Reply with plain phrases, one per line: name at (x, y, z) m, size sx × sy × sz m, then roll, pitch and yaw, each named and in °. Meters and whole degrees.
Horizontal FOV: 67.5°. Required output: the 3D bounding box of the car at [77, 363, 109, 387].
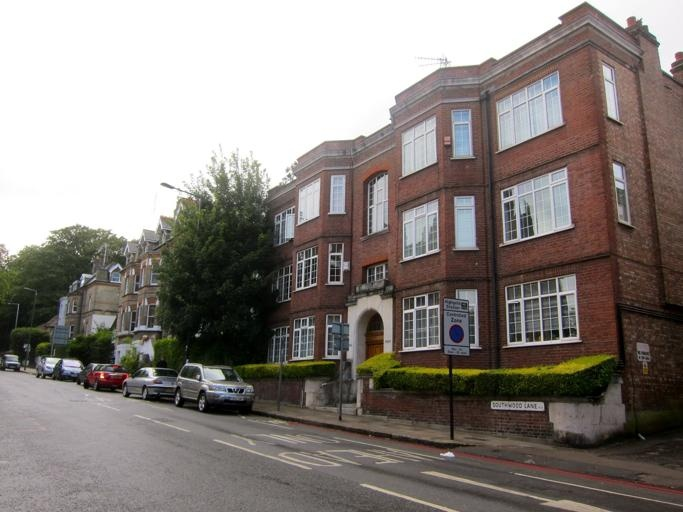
car at (-17.849, 8.434, 36.486) m, size 1.722 × 1.647 × 3.501 m, roll 5°, pitch -7°, yaw -27°

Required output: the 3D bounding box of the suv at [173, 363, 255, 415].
suv at (-5.812, 5.891, 23.216) m, size 1.716 × 2.219 × 3.957 m, roll 17°, pitch -24°, yaw -42°
